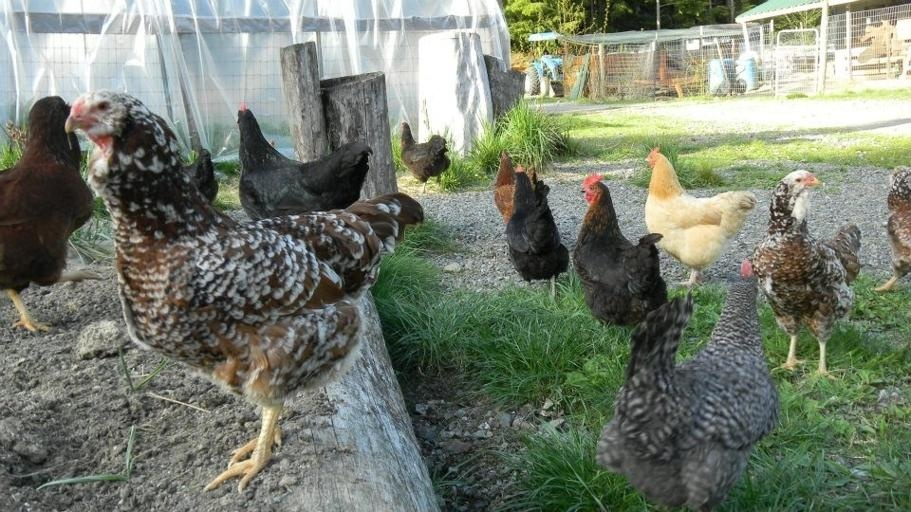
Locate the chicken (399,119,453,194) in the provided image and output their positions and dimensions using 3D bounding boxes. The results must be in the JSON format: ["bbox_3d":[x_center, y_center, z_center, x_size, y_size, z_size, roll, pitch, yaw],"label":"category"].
[{"bbox_3d":[-0.704,-1.743,12.738,1.205,0.920,0.675,14,24,41],"label":"chicken"}]

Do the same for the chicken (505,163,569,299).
[{"bbox_3d":[0.981,-0.301,9.175,0.525,1.463,0.703,-14,18,-41],"label":"chicken"}]

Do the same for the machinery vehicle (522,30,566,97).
[{"bbox_3d":[4.453,-7.919,31.855,1.701,1.956,2.734,-7,3,0],"label":"machinery vehicle"}]

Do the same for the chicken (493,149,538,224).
[{"bbox_3d":[0.703,-0.997,10.469,0.522,0.828,1.210,0,27,1],"label":"chicken"}]
